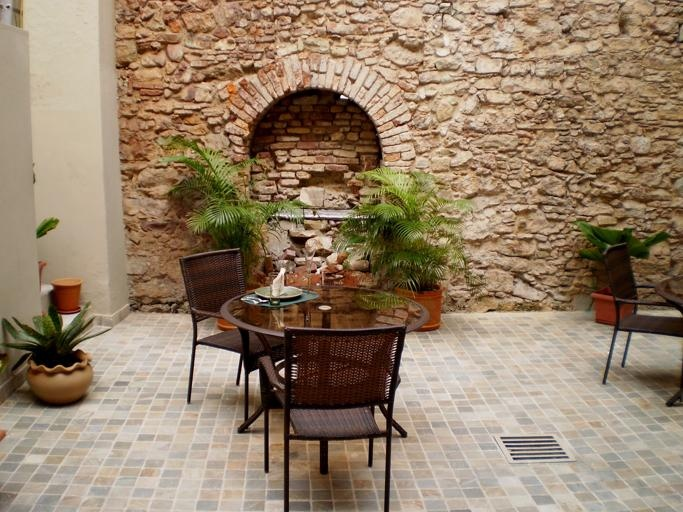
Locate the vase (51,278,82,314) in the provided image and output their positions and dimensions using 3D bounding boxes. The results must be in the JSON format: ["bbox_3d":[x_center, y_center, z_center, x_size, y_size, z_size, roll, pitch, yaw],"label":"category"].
[{"bbox_3d":[-2.819,0.437,5.216,0.314,0.253,0.306,-4,-2,-34],"label":"vase"}]

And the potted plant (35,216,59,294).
[{"bbox_3d":[-2.883,-0.032,5.054,0.224,0.685,0.581,-6,16,-28],"label":"potted plant"}]

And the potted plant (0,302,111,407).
[{"bbox_3d":[-2.226,0.777,4.217,0.889,0.702,0.893,2,3,42],"label":"potted plant"}]

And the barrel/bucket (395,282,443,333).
[{"bbox_3d":[0.814,0.528,5.299,0.580,0.438,0.490,-1,5,-3],"label":"barrel/bucket"}]

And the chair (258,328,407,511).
[{"bbox_3d":[-0.002,0.881,2.921,0.647,1.070,0.316,0,15,-7],"label":"chair"}]
